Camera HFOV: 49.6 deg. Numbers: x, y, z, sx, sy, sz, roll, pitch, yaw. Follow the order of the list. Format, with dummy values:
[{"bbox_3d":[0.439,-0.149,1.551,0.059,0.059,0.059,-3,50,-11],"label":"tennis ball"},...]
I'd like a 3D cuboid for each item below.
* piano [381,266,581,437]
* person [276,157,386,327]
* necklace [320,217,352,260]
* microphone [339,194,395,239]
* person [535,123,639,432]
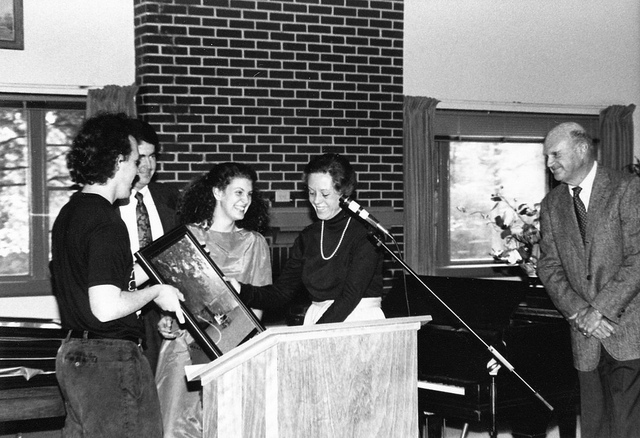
[{"bbox_3d":[1.136,0.953,5.284,1.212,1.303,1.213,4,-7,-36],"label":"piano"},{"bbox_3d":[0.053,0.147,4.546,0.724,1.098,0.453,0,6,6],"label":"person"},{"bbox_3d":[0.096,0.134,4.616,0.046,0.293,0.139,10,-1,-36],"label":"necklace"},{"bbox_3d":[0.338,-0.015,5.033,0.518,0.081,0.073,44,0,22],"label":"microphone"},{"bbox_3d":[1.794,0.389,4.624,0.611,2.025,0.382,1,6,19],"label":"person"}]
